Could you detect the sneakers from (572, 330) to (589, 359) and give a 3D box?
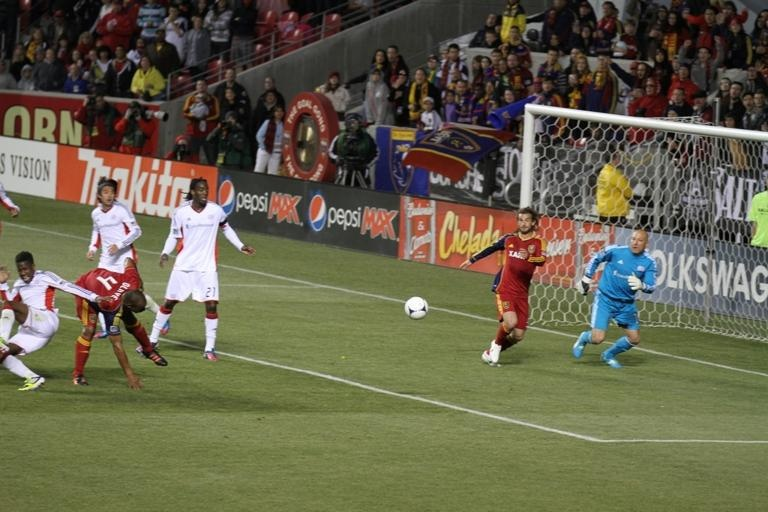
[{"bbox_3d":[3.131,1.487,19.632,0.198,0.528,0.236,22,15,-3],"label":"sneakers"}]

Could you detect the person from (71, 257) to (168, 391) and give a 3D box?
[{"bbox_3d":[-3.912,1.106,18.382,1.140,1.356,1.208,22,41,15],"label":"person"}]

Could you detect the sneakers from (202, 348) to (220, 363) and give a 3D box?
[{"bbox_3d":[-2.605,1.538,18.777,0.129,0.107,0.260,-1,3,-43],"label":"sneakers"}]

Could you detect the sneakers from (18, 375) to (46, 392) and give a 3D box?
[{"bbox_3d":[-4.917,1.792,17.201,0.447,0.152,0.198,-14,-40,22],"label":"sneakers"}]

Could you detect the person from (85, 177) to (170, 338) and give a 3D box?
[{"bbox_3d":[-3.998,0.052,19.507,1.506,2.432,1.008,-4,4,-32],"label":"person"}]

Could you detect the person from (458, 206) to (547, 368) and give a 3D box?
[{"bbox_3d":[1.998,0.484,19.293,0.930,2.291,0.689,4,1,-7],"label":"person"}]

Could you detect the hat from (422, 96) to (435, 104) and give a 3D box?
[{"bbox_3d":[1.051,-3.596,28.548,0.181,0.209,0.108,0,17,6],"label":"hat"}]

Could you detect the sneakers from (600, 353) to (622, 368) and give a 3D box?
[{"bbox_3d":[3.600,1.663,19.499,0.143,0.145,0.385,-20,23,-29],"label":"sneakers"}]

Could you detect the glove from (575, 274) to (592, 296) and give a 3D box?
[{"bbox_3d":[3.369,0.494,20.924,0.295,0.390,0.180,-2,49,-54],"label":"glove"}]

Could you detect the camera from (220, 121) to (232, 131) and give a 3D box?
[{"bbox_3d":[-3.745,-3.122,29.738,0.237,0.205,0.541,2,3,-25],"label":"camera"}]

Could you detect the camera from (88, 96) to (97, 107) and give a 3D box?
[{"bbox_3d":[-7.426,-3.956,31.686,0.211,0.244,0.255,3,8,-6],"label":"camera"}]

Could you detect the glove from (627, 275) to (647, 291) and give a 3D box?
[{"bbox_3d":[3.880,0.400,19.056,0.223,0.229,0.362,9,5,24],"label":"glove"}]

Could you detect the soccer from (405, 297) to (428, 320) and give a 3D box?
[{"bbox_3d":[0.524,0.846,19.615,0.378,0.330,0.194,-21,-16,0],"label":"soccer"}]
